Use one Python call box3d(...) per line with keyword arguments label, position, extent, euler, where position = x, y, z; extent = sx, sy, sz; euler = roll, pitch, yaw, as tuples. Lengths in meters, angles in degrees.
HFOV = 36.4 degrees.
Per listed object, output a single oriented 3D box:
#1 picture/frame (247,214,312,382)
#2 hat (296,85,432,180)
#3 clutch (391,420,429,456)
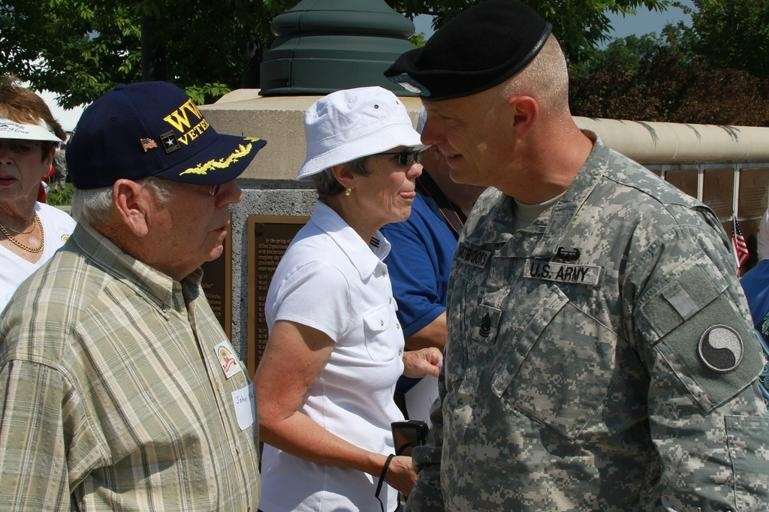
box3d(label="picture/frame", position=(-0.689, 0.125, 7.723), extent=(0.414, 0.755, 0.070), euler=(-3, 24, -19))
box3d(label="hat", position=(-0.114, -0.652, 6.523), extent=(0.620, 0.303, 0.516), euler=(-6, 3, 0))
box3d(label="clutch", position=(0.125, 0.950, 6.292), extent=(0.174, 0.280, 0.152), euler=(5, 29, 11))
